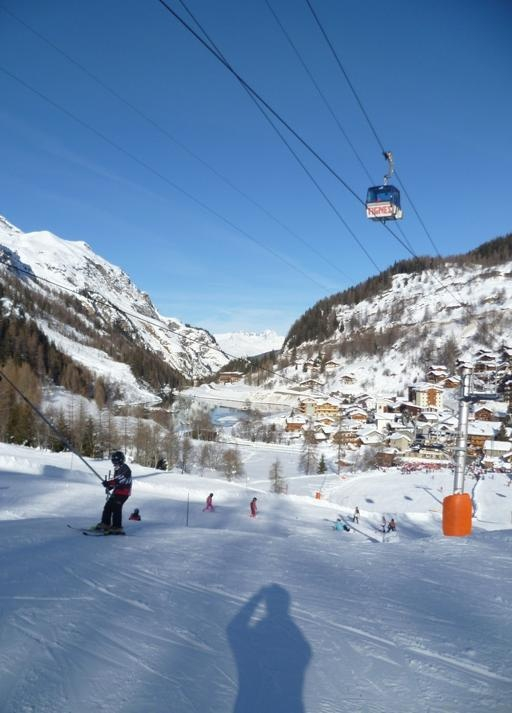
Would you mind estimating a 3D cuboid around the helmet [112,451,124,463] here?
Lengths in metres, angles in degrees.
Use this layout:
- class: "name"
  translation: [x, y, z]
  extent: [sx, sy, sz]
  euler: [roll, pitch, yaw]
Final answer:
- class: "helmet"
  translation: [-2.724, 1.983, 11.777]
  extent: [0.168, 0.236, 0.353]
  euler: [3, -7, 5]

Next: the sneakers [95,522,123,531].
- class: "sneakers"
  translation: [-3.074, 3.592, 12.559]
  extent: [0.574, 0.262, 0.200]
  euler: [1, -5, -20]
